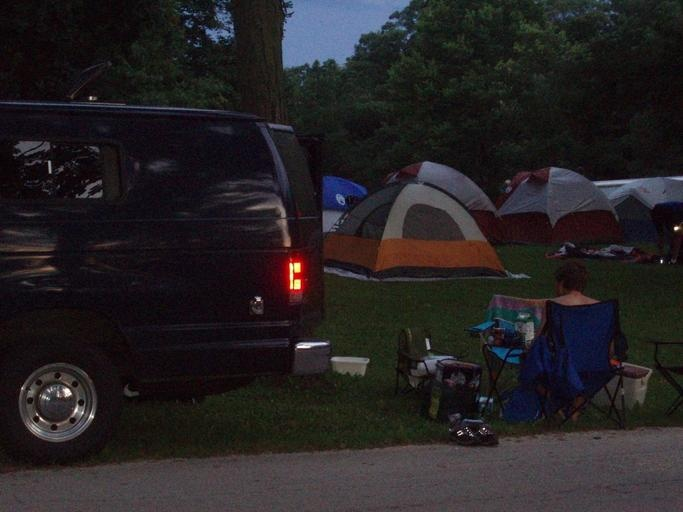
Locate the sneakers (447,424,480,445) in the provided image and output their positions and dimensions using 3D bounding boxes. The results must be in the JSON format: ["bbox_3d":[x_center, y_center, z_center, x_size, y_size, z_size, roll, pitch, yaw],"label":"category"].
[{"bbox_3d":[1.090,1.580,6.484,0.205,0.069,0.144,13,23,20],"label":"sneakers"}]

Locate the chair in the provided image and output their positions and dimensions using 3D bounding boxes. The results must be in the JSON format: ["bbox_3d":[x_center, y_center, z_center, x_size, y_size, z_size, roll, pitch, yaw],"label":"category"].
[{"bbox_3d":[1.765,0.983,7.279,1.188,1.515,1.198,1,-1,-16],"label":"chair"}]

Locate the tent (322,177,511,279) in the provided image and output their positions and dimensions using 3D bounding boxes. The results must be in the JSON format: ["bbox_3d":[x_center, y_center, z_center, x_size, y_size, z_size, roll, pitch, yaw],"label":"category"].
[{"bbox_3d":[1.902,-0.524,17.243,2.794,1.374,2.678,1,1,-24],"label":"tent"}]

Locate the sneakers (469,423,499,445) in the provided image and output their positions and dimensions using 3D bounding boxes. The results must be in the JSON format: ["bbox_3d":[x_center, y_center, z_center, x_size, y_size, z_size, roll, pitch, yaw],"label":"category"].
[{"bbox_3d":[1.247,1.572,6.484,0.159,0.077,0.198,0,24,-13],"label":"sneakers"}]

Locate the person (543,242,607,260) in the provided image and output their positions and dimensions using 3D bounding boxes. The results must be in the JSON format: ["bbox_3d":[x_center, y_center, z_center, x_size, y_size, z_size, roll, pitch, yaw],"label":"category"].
[{"bbox_3d":[7.206,-0.163,22.846,1.597,0.421,1.347,4,11,18],"label":"person"}]
